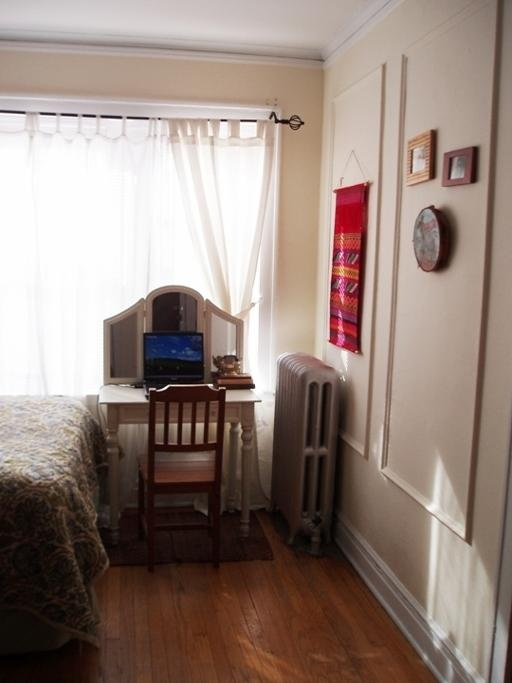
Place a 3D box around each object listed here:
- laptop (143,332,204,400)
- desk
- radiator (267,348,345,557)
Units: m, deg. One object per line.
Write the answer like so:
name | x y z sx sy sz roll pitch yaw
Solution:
laptop | -0.439 0.120 2.606 0.201 0.316 0.083 0 0 -7
desk | -0.392 0.443 2.737 0.749 1.067 0.644 0 1 -10
radiator | 0.249 0.541 2.624 0.230 0.944 0.495 0 2 -11
